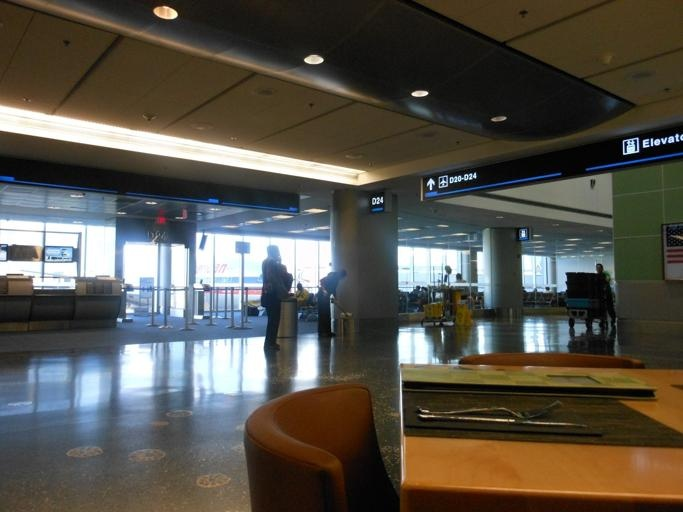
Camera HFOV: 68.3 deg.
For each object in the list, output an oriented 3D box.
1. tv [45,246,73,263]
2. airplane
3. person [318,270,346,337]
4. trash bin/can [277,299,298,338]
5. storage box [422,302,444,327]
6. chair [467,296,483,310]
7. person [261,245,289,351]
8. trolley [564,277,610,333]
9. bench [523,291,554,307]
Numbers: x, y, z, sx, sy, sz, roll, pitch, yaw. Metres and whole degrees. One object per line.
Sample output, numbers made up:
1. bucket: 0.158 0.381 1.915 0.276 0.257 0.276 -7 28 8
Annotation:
1. tv: -10.017 -0.055 17.741 0.929 0.651 0.515 2 -6 -28
2. airplane: -4.547 1.032 20.331 2.560 2.481 8.489 0 -3 -9
3. person: -0.283 0.932 10.194 0.404 1.288 0.686 -1 -3 7
4. trash bin/can: -1.009 1.181 9.886 0.538 0.893 0.586 0 -1 4
5. storage box: 2.426 1.540 13.356 0.588 0.656 0.673 -7 -10 43
6. chair: 5.201 1.833 19.585 0.600 0.572 0.321 5 -23 -13
7. person: -1.089 0.664 8.358 0.501 1.683 0.584 0 -3 -7
8. trolley: 6.029 1.093 12.388 0.934 1.245 0.849 7 -6 -41
9. bench: 9.355 1.955 23.634 2.270 0.732 0.457 2 -4 -37
